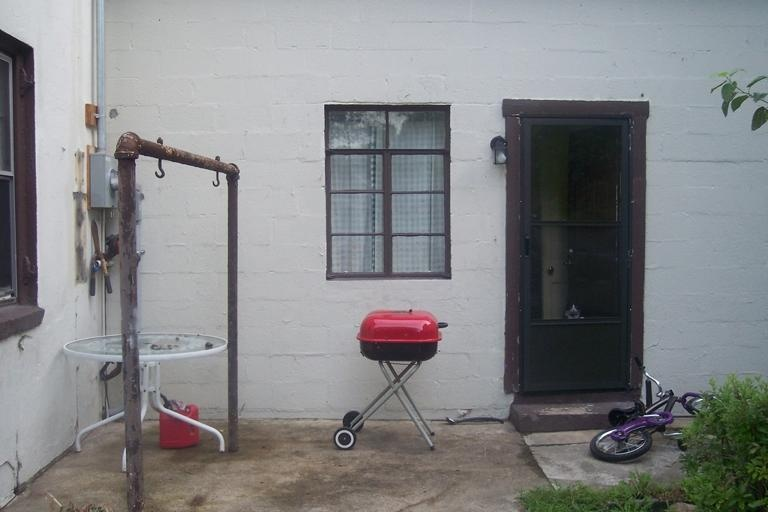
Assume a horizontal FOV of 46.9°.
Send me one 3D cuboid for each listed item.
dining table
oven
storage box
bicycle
[{"bbox_3d":[-2.224,1.338,8.377,1.518,1.172,1.293,-1,2,-3],"label":"dining table"},{"bbox_3d":[0.198,0.783,8.582,0.885,0.470,0.739,1,6,10],"label":"oven"},{"bbox_3d":[0.138,0.756,8.357,0.760,0.473,0.239,-1,3,-2],"label":"storage box"},{"bbox_3d":[2.500,1.579,8.481,1.088,0.448,0.855,-19,15,-36],"label":"bicycle"}]
